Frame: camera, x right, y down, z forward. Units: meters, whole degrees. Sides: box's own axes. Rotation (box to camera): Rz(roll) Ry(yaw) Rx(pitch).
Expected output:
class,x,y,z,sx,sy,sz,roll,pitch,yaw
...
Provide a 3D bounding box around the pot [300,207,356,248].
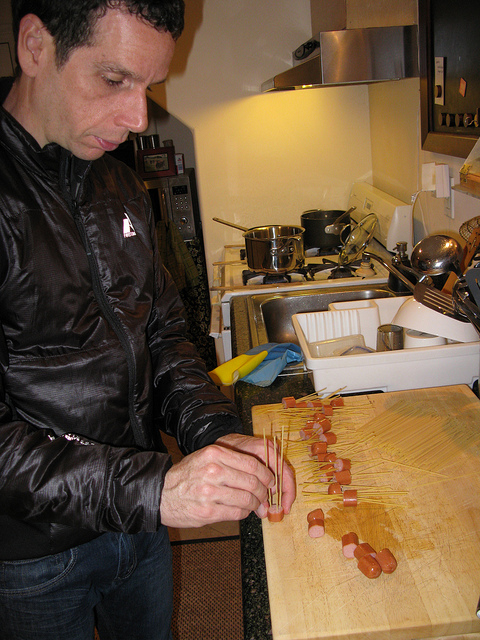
class,x,y,z,sx,sy,sz,roll,pitch,yaw
pot,0.480,-0.512,2.645,0.173,0.198,0.304,-6,22,-10

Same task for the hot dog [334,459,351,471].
class,x,y,z,sx,sy,sz,roll,pitch,yaw
hot dog,0.189,0.266,0.888,0.021,0.021,0.024,-16,-15,42

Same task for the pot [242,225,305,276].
class,x,y,z,sx,sy,sz,roll,pitch,yaw
pot,0.161,-0.315,2.238,0.259,0.202,0.252,-4,22,2

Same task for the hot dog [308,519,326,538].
class,x,y,z,sx,sy,sz,roll,pitch,yaw
hot dog,0.119,0.323,0.750,0.023,0.020,0.021,-6,17,3

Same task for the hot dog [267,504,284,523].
class,x,y,z,sx,sy,sz,roll,pitch,yaw
hot dog,0.057,0.312,0.779,0.024,0.016,0.024,-9,11,-24

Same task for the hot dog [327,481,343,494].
class,x,y,z,sx,sy,sz,roll,pitch,yaw
hot dog,0.167,0.293,0.848,0.025,0.015,0.031,-3,17,10

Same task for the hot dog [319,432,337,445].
class,x,y,z,sx,sy,sz,roll,pitch,yaw
hot dog,0.180,0.240,0.982,0.028,0.025,0.022,-3,45,-10
